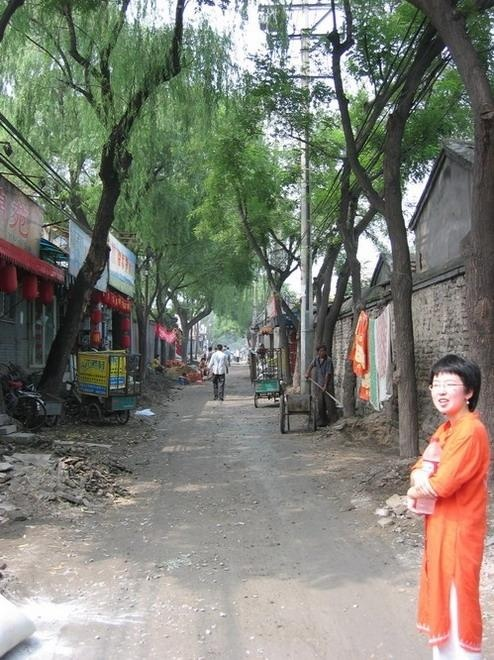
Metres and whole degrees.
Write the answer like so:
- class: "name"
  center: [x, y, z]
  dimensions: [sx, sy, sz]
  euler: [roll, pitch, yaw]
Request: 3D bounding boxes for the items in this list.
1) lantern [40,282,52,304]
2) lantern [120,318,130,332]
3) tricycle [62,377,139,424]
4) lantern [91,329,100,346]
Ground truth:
- class: "lantern"
  center: [-4.492, -0.857, 11.664]
  dimensions: [0.334, 0.662, 0.373]
  euler: [-1, 1, -21]
- class: "lantern"
  center: [-5.539, -0.290, 23.710]
  dimensions: [0.370, 0.693, 0.686]
  euler: [1, -3, -21]
- class: "tricycle"
  center: [-3.534, 1.821, 12.709]
  dimensions: [1.653, 1.024, 1.004]
  euler: [6, 3, 34]
- class: "lantern"
  center: [-5.075, 0.251, 17.368]
  dimensions: [0.249, 0.616, 0.595]
  euler: [0, -3, -7]
